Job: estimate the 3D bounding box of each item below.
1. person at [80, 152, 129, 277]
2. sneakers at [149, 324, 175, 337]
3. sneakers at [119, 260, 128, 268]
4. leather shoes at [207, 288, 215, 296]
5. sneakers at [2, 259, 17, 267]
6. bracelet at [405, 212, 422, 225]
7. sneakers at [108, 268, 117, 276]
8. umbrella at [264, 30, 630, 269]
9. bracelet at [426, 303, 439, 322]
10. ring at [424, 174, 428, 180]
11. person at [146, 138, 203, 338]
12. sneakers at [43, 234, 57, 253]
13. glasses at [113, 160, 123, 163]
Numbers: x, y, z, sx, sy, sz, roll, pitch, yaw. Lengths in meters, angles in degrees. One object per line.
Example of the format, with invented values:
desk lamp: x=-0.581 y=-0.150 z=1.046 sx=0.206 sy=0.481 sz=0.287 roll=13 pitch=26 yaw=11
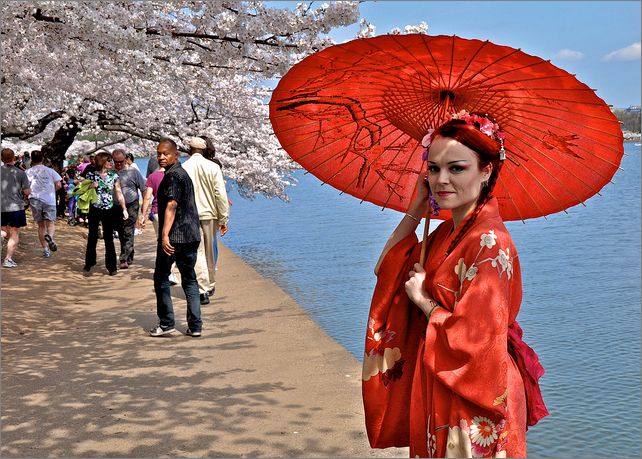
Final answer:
person: x=-3.523 y=-0.247 z=12.814 sx=0.576 sy=1.981 sz=0.856 roll=-3 pitch=10 yaw=-32
sneakers: x=-1.915 y=1.235 z=9.525 sx=0.377 sy=0.142 sz=0.114 roll=3 pitch=3 yaw=-2
sneakers: x=-3.375 y=0.614 z=13.375 sx=0.078 sy=0.072 sz=0.185 roll=-1 pitch=-22 yaw=-6
leather shoes: x=-1.509 y=0.869 z=10.878 sx=0.104 sy=0.107 sz=0.117 roll=0 pitch=46 yaw=6
sneakers: x=-5.087 y=0.553 z=12.842 sx=0.125 sy=0.089 sz=0.237 roll=3 pitch=6 yaw=16
bracelet: x=0.698 y=-0.081 z=5.921 sx=0.090 sy=0.021 sz=0.081 roll=25 pitch=11 yaw=-44
sneakers: x=-3.380 y=0.710 z=12.755 sx=0.054 sy=0.092 sz=0.156 roll=27 pitch=-21 yaw=-30
umbrella: x=1.082 y=-0.842 z=6.140 sx=1.941 sy=1.640 sz=0.823 roll=8 pitch=46 yaw=12
bracelet: x=0.798 y=0.591 z=5.567 sx=0.028 sy=0.104 sz=0.105 roll=31 pitch=-33 yaw=5
ring: x=0.790 y=-0.392 z=5.873 sx=0.043 sy=0.034 sz=0.010 roll=-7 pitch=-17 yaw=21
person: x=-1.708 y=0.135 z=9.243 sx=0.623 sy=2.363 sz=0.547 roll=2 pitch=9 yaw=0
sneakers: x=-4.821 y=0.249 z=14.026 sx=0.169 sy=0.323 sz=0.163 roll=-19 pitch=5 yaw=0
glasses: x=-3.357 y=-1.118 z=12.997 sx=0.081 sy=0.022 sz=0.069 roll=1 pitch=41 yaw=-6
